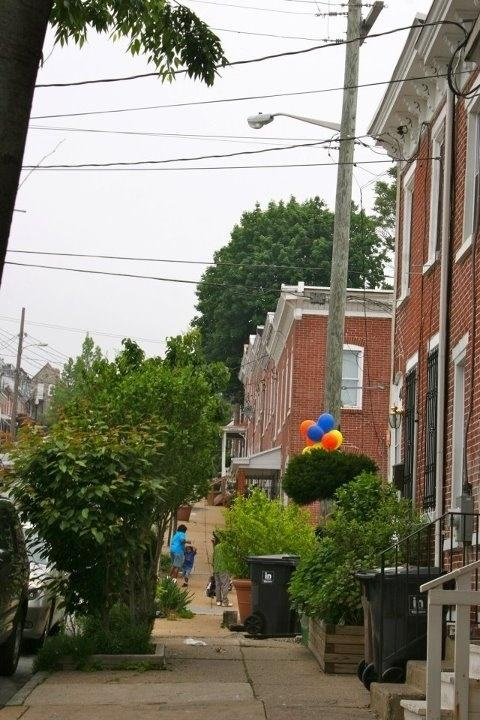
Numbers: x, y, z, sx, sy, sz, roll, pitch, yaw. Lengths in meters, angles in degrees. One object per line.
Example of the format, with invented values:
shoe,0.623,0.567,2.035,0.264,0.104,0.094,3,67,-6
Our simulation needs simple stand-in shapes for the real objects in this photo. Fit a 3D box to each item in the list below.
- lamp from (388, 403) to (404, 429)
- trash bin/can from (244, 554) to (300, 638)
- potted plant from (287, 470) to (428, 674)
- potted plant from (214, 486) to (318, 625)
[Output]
lamp,2.773,0.999,13.075,0.186,0.431,0.400,2,-14,5
trash bin/can,0.525,3.944,12.365,0.923,1.648,1.552,3,-12,-9
potted plant,1.361,2.464,9.023,1.743,2.242,1.410,0,-10,-2
potted plant,1.029,4.228,15.586,1.630,2.893,2.987,5,-13,-14
